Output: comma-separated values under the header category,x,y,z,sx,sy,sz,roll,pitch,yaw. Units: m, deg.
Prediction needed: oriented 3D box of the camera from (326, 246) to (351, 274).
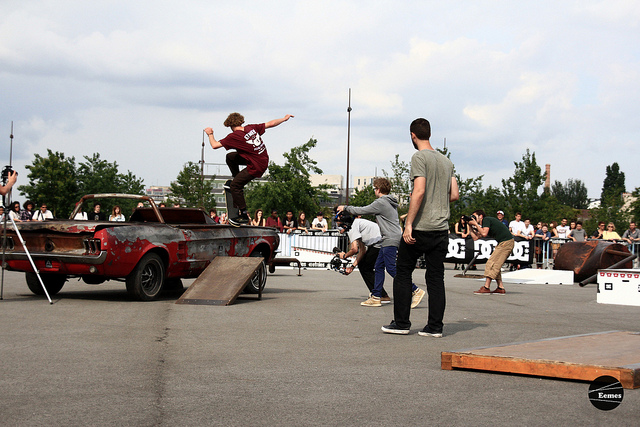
category,x,y,z,sx,sy,sz,roll,pitch,yaw
camera,0.374,0.998,12.287,0.257,0.344,0.653,0,3,-22

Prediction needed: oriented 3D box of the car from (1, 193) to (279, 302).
category,x,y,z,sx,sy,sz,roll,pitch,yaw
car,-3.103,0.573,11.394,2.376,1.415,4.450,0,-1,39

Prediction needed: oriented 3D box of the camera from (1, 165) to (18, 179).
category,x,y,z,sx,sy,sz,roll,pitch,yaw
camera,-5.128,-0.698,9.736,0.203,0.177,0.145,-2,1,-28

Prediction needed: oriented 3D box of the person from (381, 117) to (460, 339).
category,x,y,z,sx,sy,sz,roll,pitch,yaw
person,1.403,0.180,8.121,1.005,3.016,0.617,-1,1,5

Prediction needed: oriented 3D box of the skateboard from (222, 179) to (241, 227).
category,x,y,z,sx,sy,sz,roll,pitch,yaw
skateboard,-1.933,-0.335,12.732,0.337,1.201,0.189,-5,-7,4
